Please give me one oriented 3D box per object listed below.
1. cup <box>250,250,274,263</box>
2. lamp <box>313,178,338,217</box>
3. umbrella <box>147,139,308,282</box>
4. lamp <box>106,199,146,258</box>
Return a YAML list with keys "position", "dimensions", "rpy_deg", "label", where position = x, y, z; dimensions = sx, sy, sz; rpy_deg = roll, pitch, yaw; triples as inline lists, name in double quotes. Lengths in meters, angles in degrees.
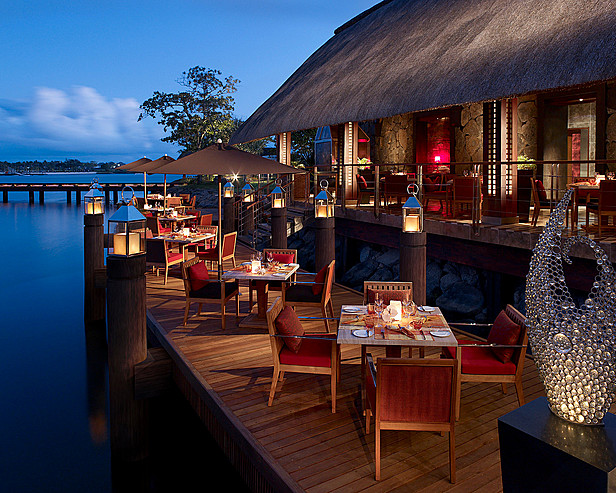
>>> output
- position: [-0.891, 0.195, 8.925]
  dimensions: [0.346, 0.330, 0.302]
  rpy_deg: [4, 6, 35]
  label: "cup"
- position: [0.337, -0.913, 9.259]
  dimensions: [0.465, 0.810, 0.484]
  rpy_deg: [2, -4, -25]
  label: "lamp"
- position: [-1.278, -0.740, 7.594]
  dimensions: [1.763, 1.637, 1.824]
  rpy_deg: [1, 7, 7]
  label: "umbrella"
- position: [-2.074, -0.178, 5.311]
  dimensions: [0.377, 0.551, 0.391]
  rpy_deg: [8, 10, 43]
  label: "lamp"
